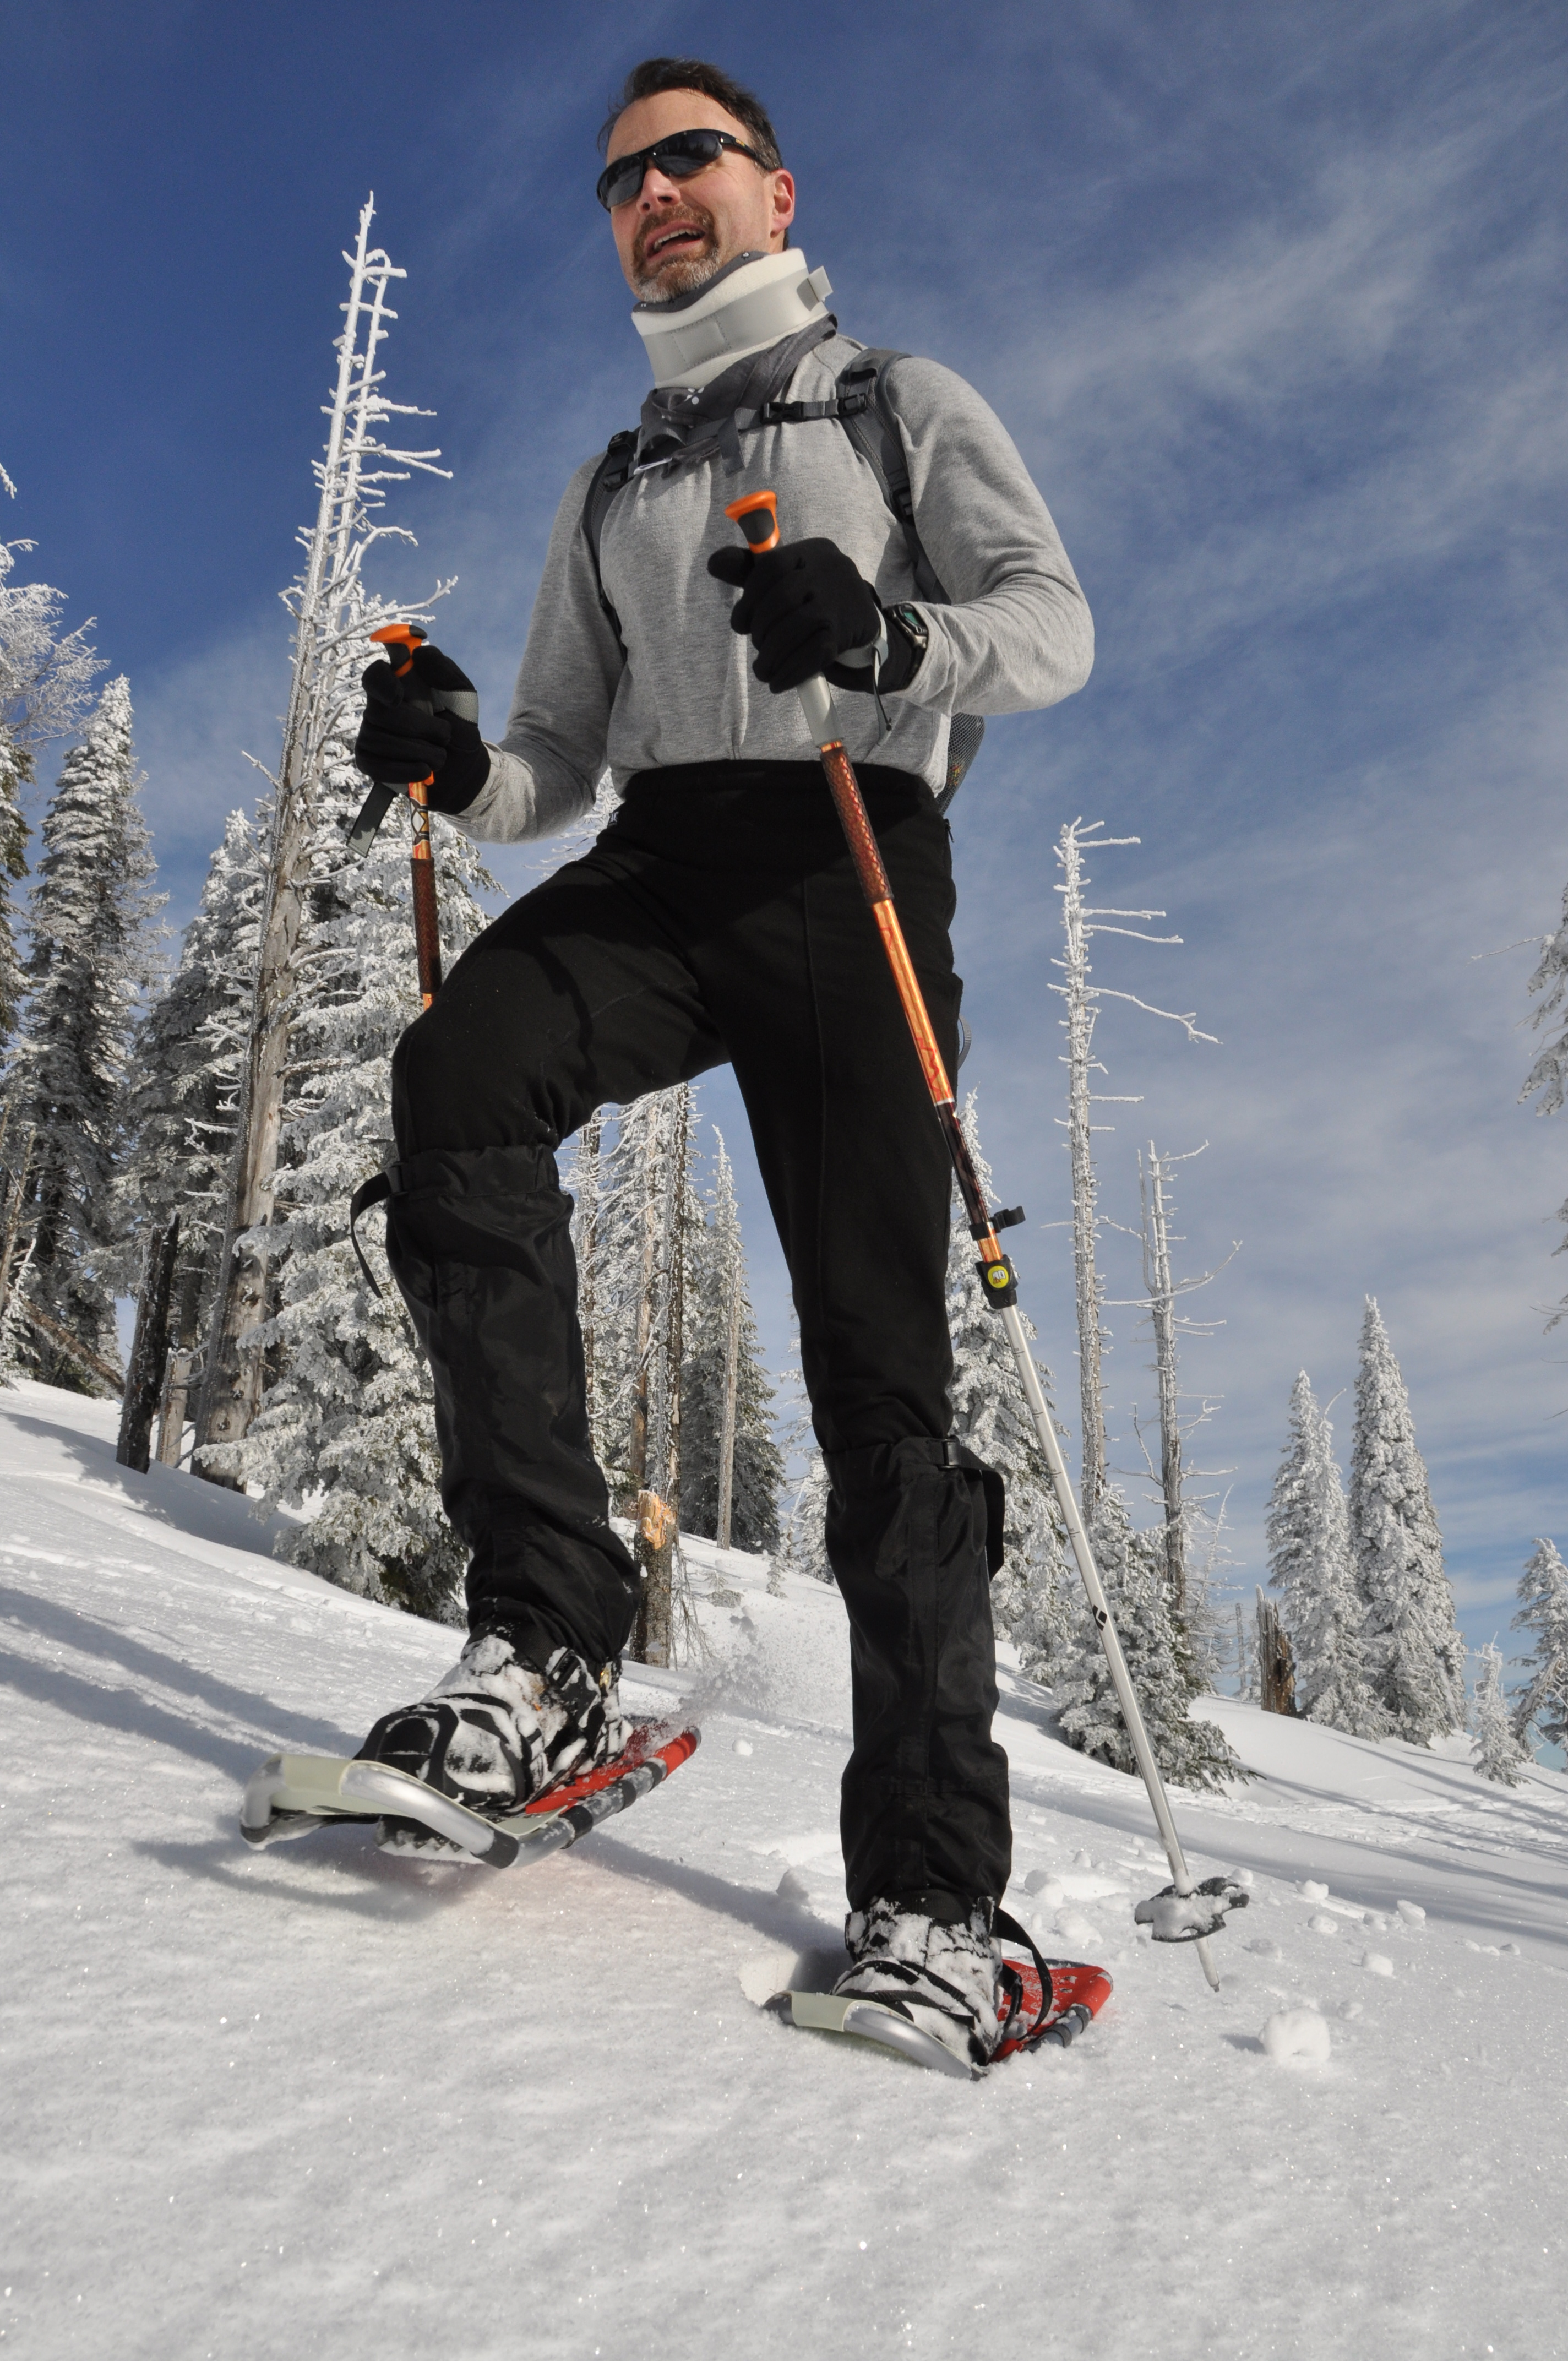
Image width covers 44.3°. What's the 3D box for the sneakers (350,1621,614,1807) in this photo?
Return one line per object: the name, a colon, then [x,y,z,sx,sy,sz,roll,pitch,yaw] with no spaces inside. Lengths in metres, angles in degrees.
sneakers: [-0.366,0.694,2.403,0.230,0.234,0.585,-3,-17,16]
